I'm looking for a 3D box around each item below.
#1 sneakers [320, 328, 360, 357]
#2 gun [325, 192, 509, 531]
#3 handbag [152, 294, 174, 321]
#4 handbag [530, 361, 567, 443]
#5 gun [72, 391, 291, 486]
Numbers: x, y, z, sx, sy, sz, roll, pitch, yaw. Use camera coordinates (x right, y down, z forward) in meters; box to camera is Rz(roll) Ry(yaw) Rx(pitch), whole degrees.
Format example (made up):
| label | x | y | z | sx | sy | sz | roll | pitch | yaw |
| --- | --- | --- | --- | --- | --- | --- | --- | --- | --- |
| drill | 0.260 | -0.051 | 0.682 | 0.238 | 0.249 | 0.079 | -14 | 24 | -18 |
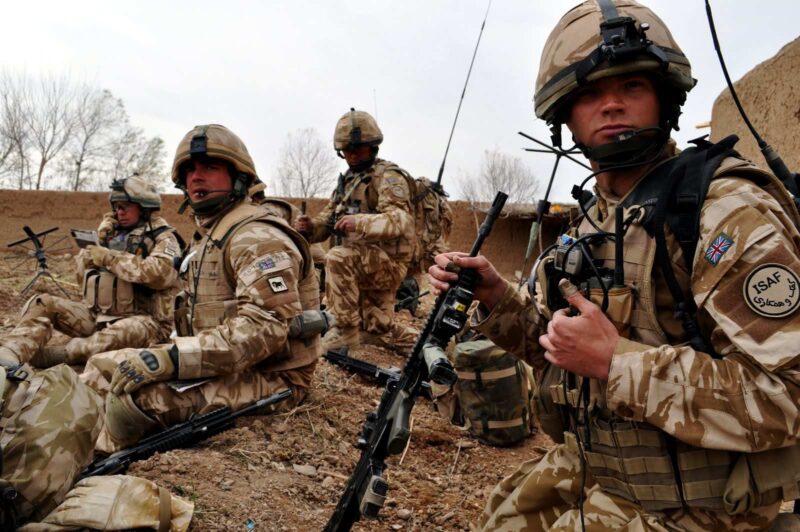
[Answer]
| label | x | y | z | sx | sy | sz | roll | pitch | yaw |
| --- | --- | --- | --- | --- | --- | --- | --- | --- | --- |
| sneakers | -0.606 | 0.799 | 7.073 | 0.490 | 0.202 | 0.171 | 3 | -3 | -21 |
| gun | 0.055 | 0.742 | 5.211 | 0.265 | 2.606 | 0.819 | 35 | -14 | -35 |
| handbag | -2.541 | 0.429 | 7.074 | 0.251 | 0.295 | 0.126 | 4 | -1 | -10 |
| handbag | 0.806 | 0.763 | 3.641 | 0.120 | 0.366 | 0.287 | -7 | -13 | 9 |
| gun | -1.445 | 1.126 | 4.265 | 1.771 | 0.226 | 0.514 | -9 | 8 | -38 |
